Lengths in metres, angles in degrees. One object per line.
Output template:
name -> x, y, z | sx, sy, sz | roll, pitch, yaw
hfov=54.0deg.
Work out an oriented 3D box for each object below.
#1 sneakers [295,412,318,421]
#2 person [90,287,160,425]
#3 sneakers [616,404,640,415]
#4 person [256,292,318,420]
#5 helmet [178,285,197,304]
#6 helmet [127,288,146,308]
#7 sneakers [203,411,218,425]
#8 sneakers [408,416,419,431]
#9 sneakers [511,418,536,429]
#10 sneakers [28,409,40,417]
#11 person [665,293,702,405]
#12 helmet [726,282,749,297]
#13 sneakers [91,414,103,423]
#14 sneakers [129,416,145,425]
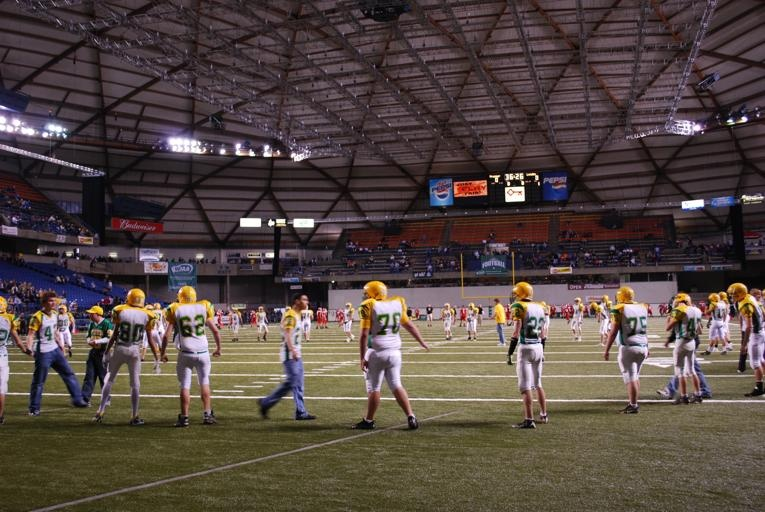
sneakers -> -1.855, 3.920, 18.434 | 0.548, 0.214, 0.186 | 2, -4, -6
person -> -6.189, 2.440, 18.268 | 1.126, 3.254, 1.446 | 3, -11, -30
sneakers -> 6.019, 3.729, 18.427 | 0.605, 0.234, 0.201 | 1, -10, 8
person -> -2.334, 2.527, 18.868 | 1.203, 3.124, 1.577 | -2, -9, -6
helmet -> -4.710, 0.883, 18.178 | 0.401, 0.416, 0.459 | 4, 13, -17
helmet -> -5.933, 0.992, 18.259 | 0.402, 0.416, 0.528 | 8, 3, -32
sneakers -> -4.169, 3.914, 18.251 | 0.185, 0.281, 0.478 | -2, -7, 20
sneakers -> 0.726, 3.892, 17.573 | 0.162, 0.174, 0.426 | 0, -5, -3
sneakers -> 3.367, 3.914, 17.611 | 0.662, 0.262, 0.215 | -1, -14, 10
sneakers -> -8.816, 3.968, 19.029 | 0.181, 0.124, 0.178 | -7, -14, 34
person -> 7.754, 2.316, 19.247 | 0.851, 2.826, 1.038 | -6, -10, 20
helmet -> 9.558, 0.891, 20.192 | 0.419, 0.419, 0.532 | 13, -6, -25
sneakers -> -6.938, 3.958, 18.318 | 0.179, 0.109, 0.239 | 7, -9, -43
sneakers -> -5.917, 3.976, 18.193 | 0.180, 0.189, 0.433 | 1, -6, 6
